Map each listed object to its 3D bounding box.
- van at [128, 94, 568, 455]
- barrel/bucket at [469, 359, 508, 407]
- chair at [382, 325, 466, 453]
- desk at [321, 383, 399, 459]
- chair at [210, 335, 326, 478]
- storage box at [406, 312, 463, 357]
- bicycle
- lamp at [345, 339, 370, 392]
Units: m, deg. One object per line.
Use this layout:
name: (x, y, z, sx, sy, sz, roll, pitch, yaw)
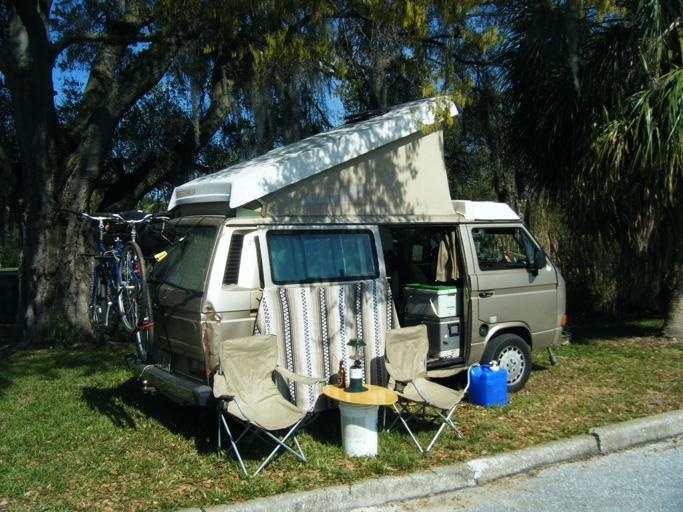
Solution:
van: (0.547, 0.024, 10.244, 5.389, 4.381, 2.635, -3, -1, -18)
barrel/bucket: (2.036, 1.764, 9.747, 0.417, 0.551, 0.442, -3, 6, 0)
chair: (1.033, 1.637, 8.809, 0.876, 1.410, 0.980, 3, 9, 31)
desk: (0.172, 1.862, 8.525, 0.791, 0.690, 0.727, 0, -2, -1)
chair: (-0.936, 1.716, 8.073, 1.049, 1.424, 1.216, 2, 8, 14)
storage box: (1.483, 1.162, 10.155, 0.431, 0.614, 0.785, -6, -4, -12)
bicycle: (-2.784, 0.270, 9.564, 0.935, 1.355, 2.068, 1, 5, -29)
lamp: (0.175, 1.307, 8.480, 0.244, 0.607, 0.271, 0, 2, -27)
